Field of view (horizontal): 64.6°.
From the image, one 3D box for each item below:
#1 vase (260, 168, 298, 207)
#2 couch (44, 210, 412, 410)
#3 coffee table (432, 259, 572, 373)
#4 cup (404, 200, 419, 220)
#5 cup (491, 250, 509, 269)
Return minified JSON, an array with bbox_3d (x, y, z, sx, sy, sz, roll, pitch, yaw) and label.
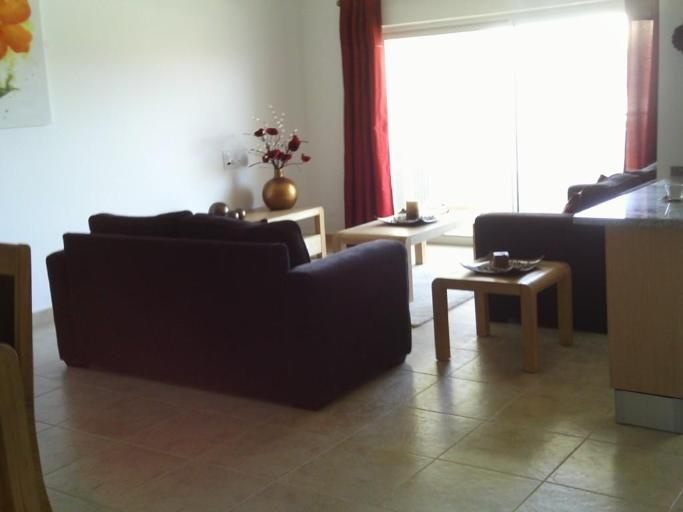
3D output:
[{"bbox_3d":[-0.616,-0.716,5.719,0.381,0.547,0.390,-2,8,2],"label":"vase"},{"bbox_3d":[-0.698,0.282,3.043,1.906,0.836,0.596,1,13,19],"label":"couch"},{"bbox_3d":[0.953,0.207,3.184,0.678,0.565,0.724,2,8,33],"label":"coffee table"},{"bbox_3d":[0.598,-0.389,4.587,0.134,0.160,0.138,-1,8,0],"label":"cup"},{"bbox_3d":[0.929,0.021,3.188,0.096,0.095,0.099,-1,1,0],"label":"cup"}]
